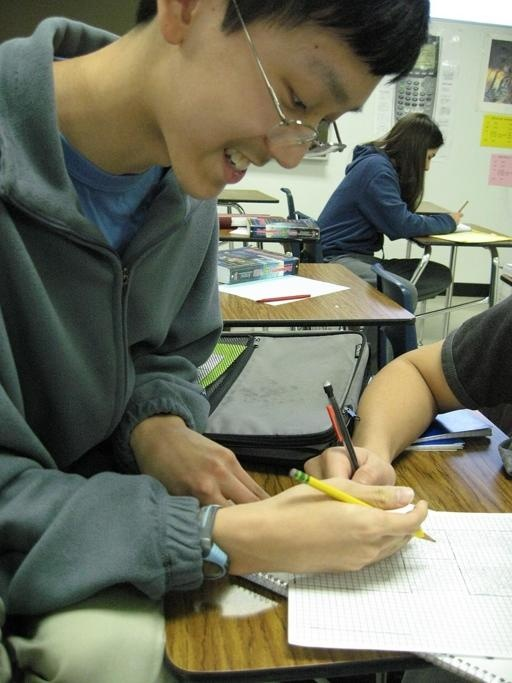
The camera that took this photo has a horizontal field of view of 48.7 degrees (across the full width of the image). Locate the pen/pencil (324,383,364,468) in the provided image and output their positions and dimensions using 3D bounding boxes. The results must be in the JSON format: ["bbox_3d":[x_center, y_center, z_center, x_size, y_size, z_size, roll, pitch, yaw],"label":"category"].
[{"bbox_3d":[0.119,0.120,0.784,0.014,0.136,0.015,1,37,43],"label":"pen/pencil"}]

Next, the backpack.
[{"bbox_3d":[0.037,0.092,0.903,0.234,0.065,0.221,2,31,9],"label":"backpack"}]

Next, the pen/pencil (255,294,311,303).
[{"bbox_3d":[0.070,-0.112,1.485,0.182,0.016,0.017,-4,7,-35],"label":"pen/pencil"}]

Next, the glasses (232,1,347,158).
[{"bbox_3d":[0.051,-0.292,0.638,0.038,0.120,0.121,-17,-2,14],"label":"glasses"}]

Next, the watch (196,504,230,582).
[{"bbox_3d":[-0.037,0.195,0.544,0.043,0.057,0.066,-8,-13,4],"label":"watch"}]

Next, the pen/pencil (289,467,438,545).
[{"bbox_3d":[0.111,0.180,0.608,0.193,0.015,0.019,27,33,19],"label":"pen/pencil"}]
